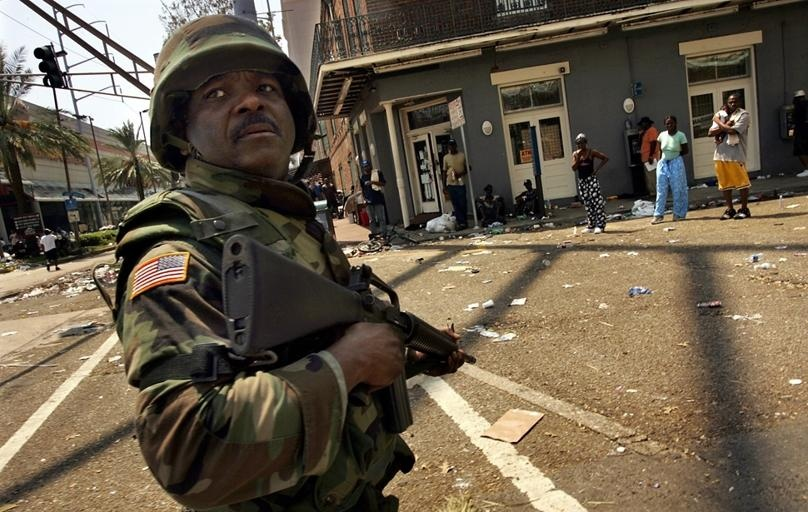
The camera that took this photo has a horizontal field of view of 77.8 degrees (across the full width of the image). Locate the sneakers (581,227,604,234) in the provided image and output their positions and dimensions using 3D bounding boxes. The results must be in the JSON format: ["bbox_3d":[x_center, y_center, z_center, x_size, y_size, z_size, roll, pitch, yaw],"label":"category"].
[{"bbox_3d":[3.827,-0.490,10.112,0.139,0.167,0.411,2,-3,-14],"label":"sneakers"}]

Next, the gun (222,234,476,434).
[{"bbox_3d":[-0.255,0.197,1.934,0.193,0.706,0.932,1,13,40],"label":"gun"}]

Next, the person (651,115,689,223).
[{"bbox_3d":[5.388,-1.736,10.143,0.641,2.075,0.570,-3,12,27],"label":"person"}]

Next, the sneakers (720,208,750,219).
[{"bbox_3d":[6.285,-0.775,9.449,0.426,0.150,0.242,3,-4,-25],"label":"sneakers"}]

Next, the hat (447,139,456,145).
[{"bbox_3d":[1.288,-2.979,13.177,0.203,0.161,0.277,2,-3,6],"label":"hat"}]

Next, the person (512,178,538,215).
[{"bbox_3d":[3.295,-1.531,13.442,0.604,0.961,0.412,-5,11,16],"label":"person"}]

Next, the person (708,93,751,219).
[{"bbox_3d":[6.277,-1.895,9.575,0.601,2.284,1.064,-1,13,35],"label":"person"}]

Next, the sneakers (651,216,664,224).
[{"bbox_3d":[5.254,-0.718,10.322,0.158,0.127,0.379,-10,-6,44],"label":"sneakers"}]

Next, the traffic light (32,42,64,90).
[{"bbox_3d":[-9.271,-4.871,13.143,0.538,1.175,1.595,-15,12,-30],"label":"traffic light"}]

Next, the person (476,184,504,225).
[{"bbox_3d":[2.325,-1.330,13.189,0.750,1.018,0.616,-13,11,-22],"label":"person"}]

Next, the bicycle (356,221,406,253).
[{"bbox_3d":[-0.547,-0.435,12.707,0.687,0.384,0.993,5,14,28],"label":"bicycle"}]
